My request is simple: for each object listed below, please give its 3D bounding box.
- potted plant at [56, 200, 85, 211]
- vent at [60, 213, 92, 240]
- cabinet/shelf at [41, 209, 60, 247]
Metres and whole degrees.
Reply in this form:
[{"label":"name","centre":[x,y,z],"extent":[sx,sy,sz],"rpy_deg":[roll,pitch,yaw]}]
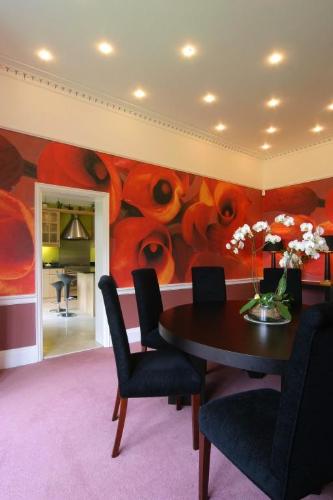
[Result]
[{"label":"potted plant","centre":[-2.289,-1.033,8.323],"extent":[0.288,0.206,0.858],"rpy_deg":[0,2,23]},{"label":"vent","centre":[-2.087,-0.507,7.943],"extent":[0.590,0.449,0.590],"rpy_deg":[-1,0,-12]},{"label":"cabinet/shelf","centre":[-2.593,-0.503,7.856],"extent":[0.390,0.816,0.199],"rpy_deg":[-1,2,-25]}]
